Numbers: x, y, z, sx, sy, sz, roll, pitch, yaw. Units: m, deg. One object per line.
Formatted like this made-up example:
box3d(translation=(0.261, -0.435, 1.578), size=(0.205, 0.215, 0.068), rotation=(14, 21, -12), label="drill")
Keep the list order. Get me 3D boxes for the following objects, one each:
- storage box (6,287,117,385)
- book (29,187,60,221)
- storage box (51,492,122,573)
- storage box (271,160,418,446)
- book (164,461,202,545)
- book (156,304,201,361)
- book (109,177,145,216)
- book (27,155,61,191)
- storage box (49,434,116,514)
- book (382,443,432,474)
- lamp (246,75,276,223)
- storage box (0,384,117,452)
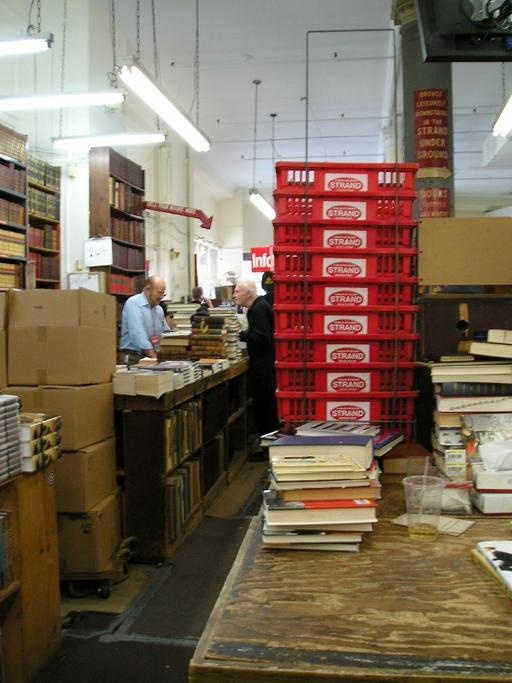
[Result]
box3d(translation=(-0.841, -0.017, 2.739), size=(0.337, 0.430, 0.420), rotation=(0, 8, 9), label="storage box")
box3d(translation=(-2.254, -1.456, 6.613), size=(0.230, 0.351, 0.404), rotation=(5, 5, 19), label="book")
box3d(translation=(-0.704, 0.823, 2.668), size=(0.246, 0.266, 0.436), rotation=(0, -1, 2), label="storage box")
box3d(translation=(0.298, -0.114, 2.052), size=(0.483, 0.939, 0.287), rotation=(-1, 8, 5), label="storage box")
box3d(translation=(-0.362, 0.800, 3.132), size=(0.080, 0.279, 0.215), rotation=(-2, -7, 4), label="book")
box3d(translation=(-0.568, -0.076, 4.602), size=(0.261, 0.318, 0.776), rotation=(-2, 8, -4), label="book")
box3d(translation=(-1.539, -1.765, 7.581), size=(0.087, 0.343, 0.351), rotation=(2, 0, 24), label="book")
box3d(translation=(-2.263, -1.792, 6.636), size=(0.081, 0.320, 0.339), rotation=(7, 4, 13), label="book")
box3d(translation=(-0.718, 0.561, 2.608), size=(0.219, 0.181, 0.390), rotation=(0, 1, 5), label="storage box")
box3d(translation=(0.438, 0.346, 1.836), size=(0.130, 0.028, 0.123), rotation=(-3, 4, -11), label="book")
box3d(translation=(0.118, -3.601, 11.266), size=(0.554, 2.213, 0.530), rotation=(10, 18, 24), label="lamp")
box3d(translation=(-0.768, 0.301, 2.609), size=(0.296, 0.174, 0.298), rotation=(-1, 1, 12), label="storage box")
